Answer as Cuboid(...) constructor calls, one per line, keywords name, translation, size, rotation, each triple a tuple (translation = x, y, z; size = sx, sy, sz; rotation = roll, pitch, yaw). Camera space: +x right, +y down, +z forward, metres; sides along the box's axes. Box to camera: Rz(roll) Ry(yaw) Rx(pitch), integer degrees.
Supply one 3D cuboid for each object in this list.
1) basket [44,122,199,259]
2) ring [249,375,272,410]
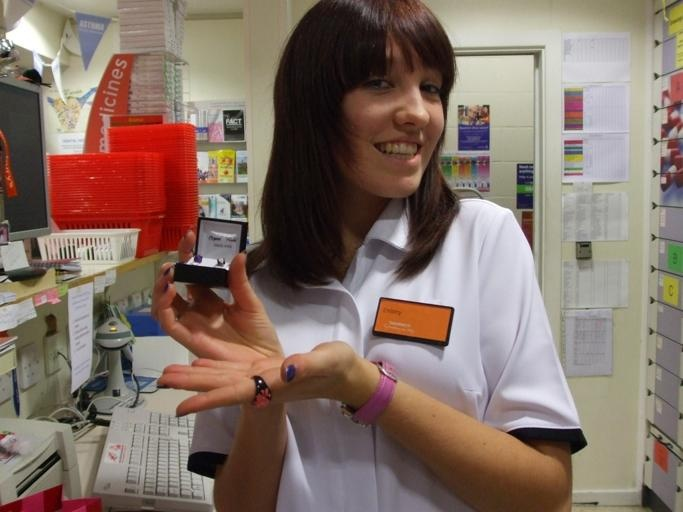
Cuboid(name="basket", translation=(-0.817, -0.280, 2.352), size=(0.693, 0.715, 0.536), rotation=(1, 4, 1))
Cuboid(name="ring", translation=(-0.163, 0.271, 1.035), size=(0.028, 0.056, 0.042), rotation=(-12, -35, -5))
